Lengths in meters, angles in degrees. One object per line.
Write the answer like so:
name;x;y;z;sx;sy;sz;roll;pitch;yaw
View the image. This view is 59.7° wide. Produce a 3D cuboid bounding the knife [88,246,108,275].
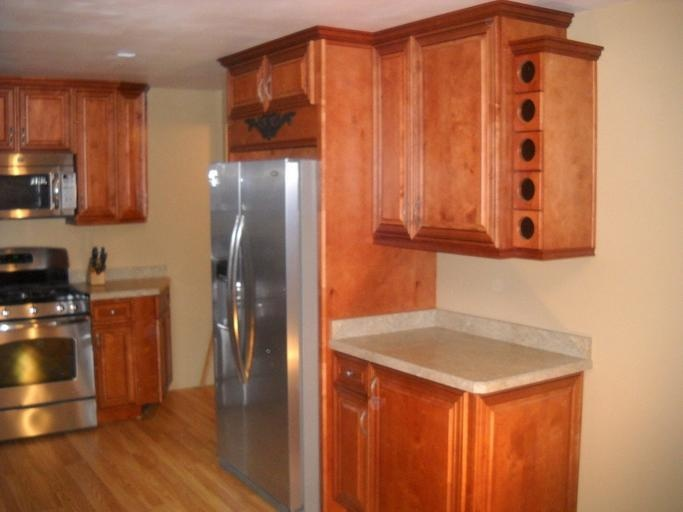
knife;-2.161;0.025;5.279;0.163;0.212;0.272;-3;9;-23
